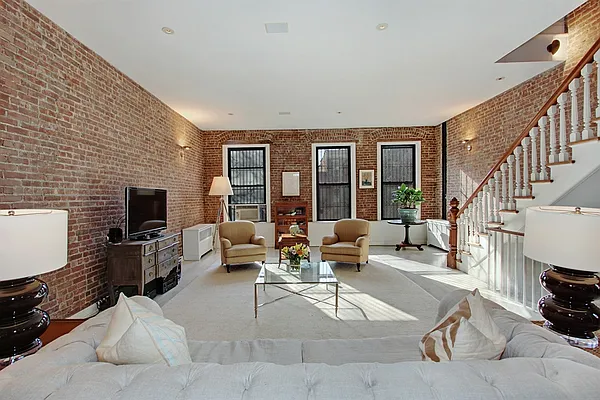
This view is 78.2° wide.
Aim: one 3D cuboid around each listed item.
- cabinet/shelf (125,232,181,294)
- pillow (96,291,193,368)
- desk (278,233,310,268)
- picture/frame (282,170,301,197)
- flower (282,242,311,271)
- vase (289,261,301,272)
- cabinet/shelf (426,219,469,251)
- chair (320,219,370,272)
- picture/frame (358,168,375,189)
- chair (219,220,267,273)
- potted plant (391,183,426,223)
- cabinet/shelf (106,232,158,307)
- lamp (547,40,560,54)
[{"bbox_3d":[-2.305,0.990,5.708,0.405,0.734,1.028,-1,0,-3],"label":"cabinet/shelf"},{"bbox_3d":[-1.271,1.106,2.976,0.229,0.662,0.604,-38,-53,26],"label":"pillow"},{"bbox_3d":[-0.115,1.004,7.673,0.630,0.438,0.546,0,-2,0],"label":"desk"},{"bbox_3d":[-0.239,-0.396,9.576,0.705,0.855,0.033,0,-2,-6],"label":"picture/frame"},{"bbox_3d":[-0.047,0.899,5.954,0.473,0.442,0.452,1,-4,2],"label":"flower"},{"bbox_3d":[-0.068,1.043,5.733,0.163,0.169,0.163,0,-7,-4],"label":"vase"},{"bbox_3d":[3.319,0.830,8.816,0.310,0.727,1.201,-1,-2,5],"label":"cabinet/shelf"},{"bbox_3d":[0.880,0.934,7.601,0.999,1.043,0.999,-3,-10,24],"label":"chair"},{"bbox_3d":[1.749,-0.517,9.624,0.556,0.634,0.044,0,-2,-3],"label":"picture/frame"},{"bbox_3d":[-1.203,0.913,7.513,1.049,0.987,0.943,2,-9,-25],"label":"chair"},{"bbox_3d":[2.470,0.043,9.099,1.085,1.084,0.962,0,-6,10],"label":"potted plant"},{"bbox_3d":[-2.670,0.997,5.796,0.785,1.067,1.205,0,-2,-8],"label":"cabinet/shelf"},{"bbox_3d":[3.988,-2.391,5.777,0.174,0.184,0.046,-1,-1,15],"label":"lamp"}]
